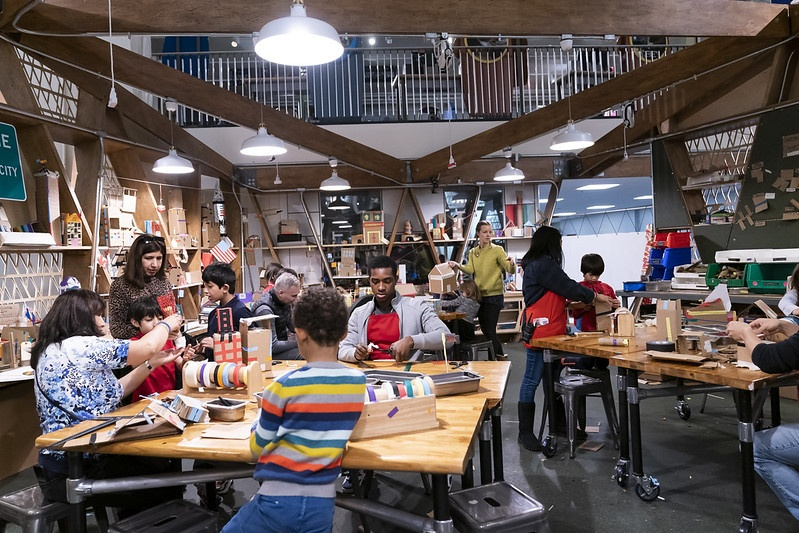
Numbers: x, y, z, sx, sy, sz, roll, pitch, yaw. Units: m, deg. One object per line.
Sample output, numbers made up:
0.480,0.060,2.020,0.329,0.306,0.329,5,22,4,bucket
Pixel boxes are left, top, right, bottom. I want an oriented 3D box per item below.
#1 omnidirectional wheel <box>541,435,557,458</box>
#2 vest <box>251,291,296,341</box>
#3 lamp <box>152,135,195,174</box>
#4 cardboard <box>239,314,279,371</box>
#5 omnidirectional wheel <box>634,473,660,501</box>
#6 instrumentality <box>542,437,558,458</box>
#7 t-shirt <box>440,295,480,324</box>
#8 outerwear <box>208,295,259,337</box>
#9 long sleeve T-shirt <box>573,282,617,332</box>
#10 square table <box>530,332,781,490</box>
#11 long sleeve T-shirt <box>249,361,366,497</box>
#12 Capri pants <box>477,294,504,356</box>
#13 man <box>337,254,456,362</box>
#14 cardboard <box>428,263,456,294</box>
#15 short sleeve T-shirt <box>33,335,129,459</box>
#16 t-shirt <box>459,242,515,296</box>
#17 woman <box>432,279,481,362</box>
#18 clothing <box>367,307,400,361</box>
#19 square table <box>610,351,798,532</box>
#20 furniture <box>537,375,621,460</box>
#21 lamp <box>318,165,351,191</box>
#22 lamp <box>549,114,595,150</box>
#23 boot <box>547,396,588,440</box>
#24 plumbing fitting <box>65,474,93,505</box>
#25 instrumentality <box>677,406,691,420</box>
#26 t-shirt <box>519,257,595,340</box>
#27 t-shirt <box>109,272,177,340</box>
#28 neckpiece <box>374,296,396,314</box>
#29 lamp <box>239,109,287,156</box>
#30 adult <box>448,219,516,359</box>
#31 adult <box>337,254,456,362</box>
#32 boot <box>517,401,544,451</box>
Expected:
1.512,1.837,5.711,0.119,0.248,0.211,-3,4,-8,omnidirectional wheel
-1.432,0.566,6.283,0.327,0.614,0.637,-8,3,12,vest
-2.934,-1.385,7.355,0.506,0.360,0.547,-1,-2,-2,lamp
-1.218,0.625,4.966,0.435,0.582,0.326,2,-3,-29,cardboard
2.172,1.967,4.985,0.216,0.246,0.111,-4,-9,26,omnidirectional wheel
1.513,1.844,5.706,0.205,0.244,0.102,-1,3,8,instrumentality
0.844,0.584,7.858,0.445,0.239,0.367,7,3,24,t-shirt
-1.636,0.479,5.299,0.417,0.427,0.156,-6,-5,3,outerwear
2.061,0.438,5.978,0.405,0.482,0.256,8,28,21,long sleeve T-shirt
2.295,1.078,4.813,1.393,1.040,1.953,0,0,-2,square table
-0.586,1.032,3.616,0.663,0.848,0.492,8,-1,-27,long sleeve T-shirt
1.452,0.885,8.644,0.329,1.182,0.327,-5,10,0,Capri pants
-0.083,0.399,5.116,1.126,0.962,0.821,-6,0,20,man
0.573,0.163,7.949,0.370,0.491,0.470,-1,2,22,cardboard
-2.444,0.927,4.392,0.631,0.846,0.811,-3,-2,-28,short sleeve T-shirt
1.300,0.073,8.640,1.074,0.824,0.400,-9,-7,28,t-shirt
0.716,0.911,7.951,0.510,1.465,0.564,10,-1,35,woman
-0.155,0.639,5.247,0.298,0.469,0.240,-7,17,-8,clothing
2.639,1.309,5.022,1.435,1.279,1.437,1,4,39,square table
2.023,1.494,5.792,0.677,0.601,0.705,-10,-7,-4,furniture
-1.074,-1.425,9.094,0.482,0.348,0.513,-1,-3,-10,lamp
2.153,-1.621,6.953,0.468,0.310,0.435,-3,2,-5,lamp
1.830,1.672,6.127,0.463,0.450,0.199,2,6,43,boot
-2.167,1.508,3.816,0.182,0.166,0.153,2,-4,-12,plumbing fitting
3.287,1.708,6.526,0.048,0.113,0.127,-8,-28,-16,instrumentality
1.712,0.360,6.094,0.844,0.978,0.766,-1,0,7,t-shirt
-2.408,0.381,5.228,0.658,0.701,0.380,0,-1,-38,t-shirt
-0.151,0.361,5.216,0.141,0.144,0.185,-3,-7,8,neckpiece
-1.672,-1.480,6.781,0.572,0.636,0.583,-1,-3,-19,lamp
1.373,0.484,8.605,0.802,2.258,1.127,-8,7,-42,adult
-0.083,0.413,5.119,1.070,0.970,0.817,-6,0,23,adult
1.352,1.685,5.949,0.225,0.475,0.494,7,-23,6,boot
